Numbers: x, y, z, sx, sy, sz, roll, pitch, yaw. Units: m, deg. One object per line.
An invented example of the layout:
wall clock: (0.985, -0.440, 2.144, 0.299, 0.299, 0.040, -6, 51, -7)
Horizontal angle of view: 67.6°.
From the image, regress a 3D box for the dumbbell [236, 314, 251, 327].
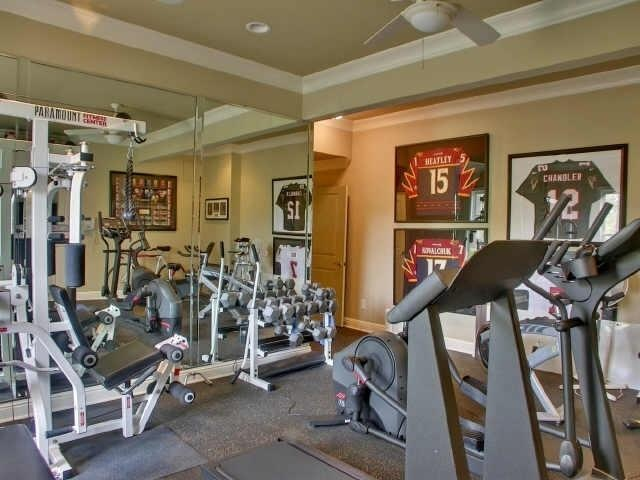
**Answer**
dumbbell: (-0.817, 0.855, 5.108, 0.127, 0.110, 0.098, 7, -3, -19)

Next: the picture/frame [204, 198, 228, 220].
picture/frame: (-1.072, -0.327, 4.877, 0.232, 0.233, 0.018, -1, 5, -40)

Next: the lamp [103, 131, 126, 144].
lamp: (-1.809, -0.907, 4.216, 0.025, 0.112, 0.177, 6, 9, 39)
